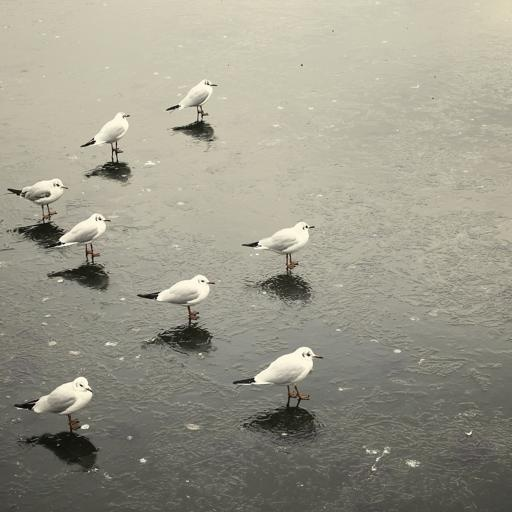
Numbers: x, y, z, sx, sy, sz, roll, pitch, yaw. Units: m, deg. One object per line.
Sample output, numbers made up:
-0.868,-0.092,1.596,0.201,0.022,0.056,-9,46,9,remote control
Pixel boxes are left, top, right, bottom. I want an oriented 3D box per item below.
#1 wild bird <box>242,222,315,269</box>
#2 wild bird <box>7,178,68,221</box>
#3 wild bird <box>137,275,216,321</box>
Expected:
0.589,-0.203,15.984,1.341,0.988,0.813,-15,39,6,wild bird
-5.125,-1.378,17.732,1.688,0.808,0.591,8,21,21,wild bird
-1.320,0.701,14.179,2.162,0.748,0.625,3,7,-5,wild bird
